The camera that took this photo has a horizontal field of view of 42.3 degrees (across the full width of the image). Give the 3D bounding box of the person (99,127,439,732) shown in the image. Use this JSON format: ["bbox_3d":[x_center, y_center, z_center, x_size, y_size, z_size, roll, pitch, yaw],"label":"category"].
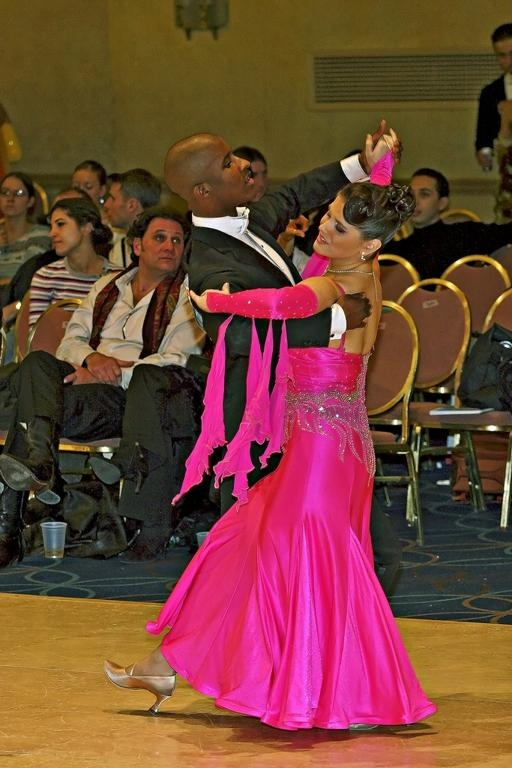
[{"bbox_3d":[0.076,0.071,1.342,0.546,1.179,0.372,3,-6,-28],"label":"person"}]

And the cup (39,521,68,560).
[{"bbox_3d":[-0.931,0.719,3.034,0.178,0.172,0.169,2,-3,0],"label":"cup"}]
